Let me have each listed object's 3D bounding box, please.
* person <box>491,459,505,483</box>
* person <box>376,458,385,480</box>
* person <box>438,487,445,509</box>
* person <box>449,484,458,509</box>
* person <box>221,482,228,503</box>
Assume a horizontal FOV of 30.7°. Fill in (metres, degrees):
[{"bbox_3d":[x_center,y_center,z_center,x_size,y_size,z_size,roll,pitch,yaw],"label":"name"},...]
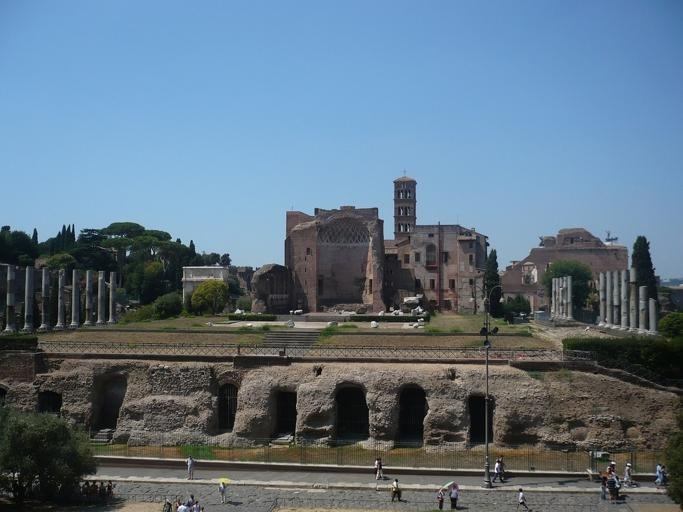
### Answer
[{"bbox_3d":[11.026,15.054,87.607,0.832,1.620,1.221,-2,-5,9],"label":"person"},{"bbox_3d":[2.619,15.019,88.131,0.530,1.486,1.421,-1,-5,1],"label":"person"},{"bbox_3d":[6.699,16.439,84.226,0.468,1.400,1.158,-1,-5,4],"label":"person"},{"bbox_3d":[7.616,16.273,84.646,0.603,1.766,1.441,-1,-5,5],"label":"person"},{"bbox_3d":[-8.269,16.191,85.552,0.504,1.484,1.495,0,-5,-5],"label":"person"}]
